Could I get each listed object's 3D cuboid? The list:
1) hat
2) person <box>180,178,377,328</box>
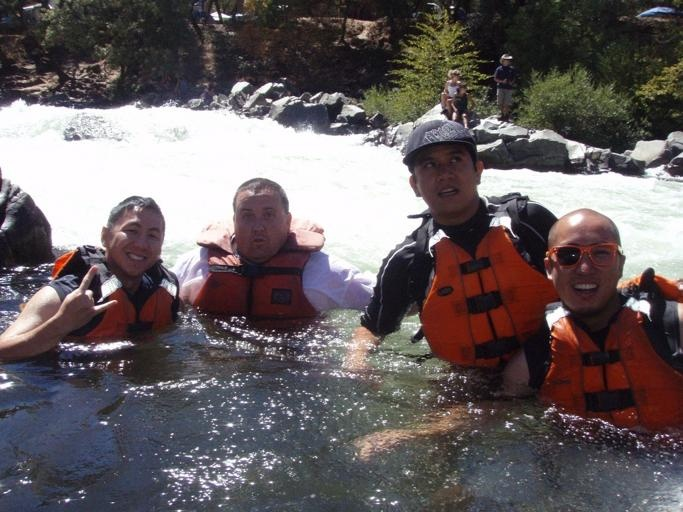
[{"bbox_3d":[0.714,-0.881,4.214,0.444,0.257,0.544,-2,2,-10],"label":"hat"},{"bbox_3d":[-0.745,-0.061,5.584,2.562,1.226,0.891,3,9,0],"label":"person"}]
